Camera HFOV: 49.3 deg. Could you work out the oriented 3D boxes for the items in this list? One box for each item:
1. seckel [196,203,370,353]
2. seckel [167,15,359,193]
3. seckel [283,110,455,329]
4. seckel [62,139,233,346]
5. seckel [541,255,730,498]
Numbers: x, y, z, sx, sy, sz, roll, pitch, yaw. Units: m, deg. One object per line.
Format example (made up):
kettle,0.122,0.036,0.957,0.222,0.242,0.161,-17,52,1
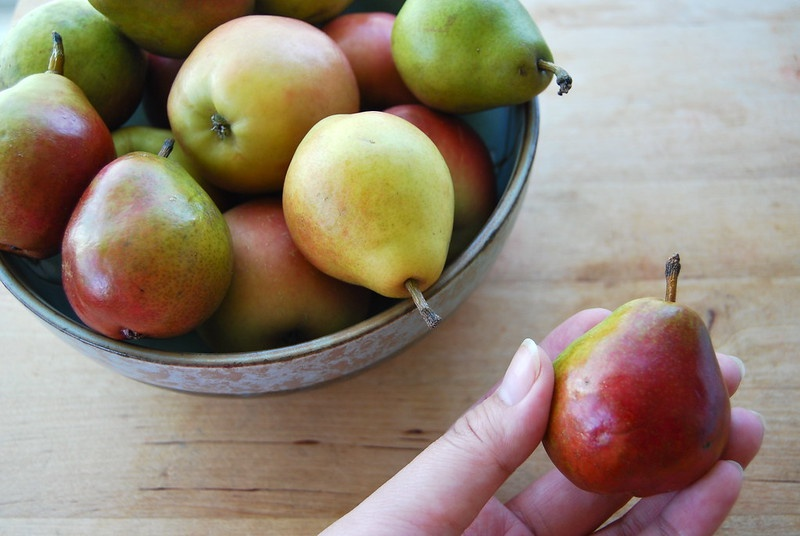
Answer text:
seckel,-0.124,0.013,0.991,0.160,0.149,0.157,-19,64,-13
seckel,-0.156,-0.184,1.003,0.206,0.182,0.174,-16,37,-9
seckel,-0.018,-0.049,0.915,0.153,0.151,0.204,-32,67,-6
seckel,-0.257,-0.030,0.897,0.161,0.156,0.211,1,82,-23
seckel,0.240,0.102,0.869,0.176,0.167,0.240,0,93,-8
